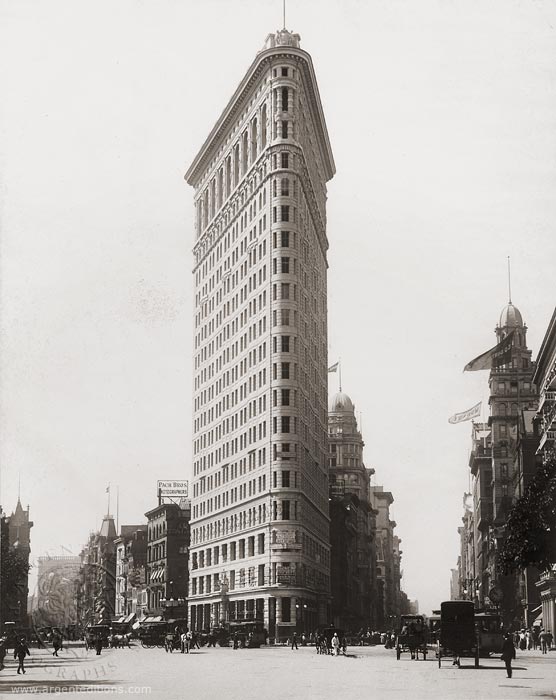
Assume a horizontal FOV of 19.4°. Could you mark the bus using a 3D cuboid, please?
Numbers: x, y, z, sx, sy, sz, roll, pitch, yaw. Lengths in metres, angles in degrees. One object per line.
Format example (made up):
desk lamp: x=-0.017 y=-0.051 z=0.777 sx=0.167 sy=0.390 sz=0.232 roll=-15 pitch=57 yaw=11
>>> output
bus: x=9.956 y=15.588 z=88.903 sx=2.290 sy=4.680 sz=3.841 roll=-1 pitch=7 yaw=20

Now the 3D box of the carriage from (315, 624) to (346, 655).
carriage: x=3.740 y=20.179 z=112.166 sx=1.202 sy=1.895 sz=2.323 roll=2 pitch=-27 yaw=-4
